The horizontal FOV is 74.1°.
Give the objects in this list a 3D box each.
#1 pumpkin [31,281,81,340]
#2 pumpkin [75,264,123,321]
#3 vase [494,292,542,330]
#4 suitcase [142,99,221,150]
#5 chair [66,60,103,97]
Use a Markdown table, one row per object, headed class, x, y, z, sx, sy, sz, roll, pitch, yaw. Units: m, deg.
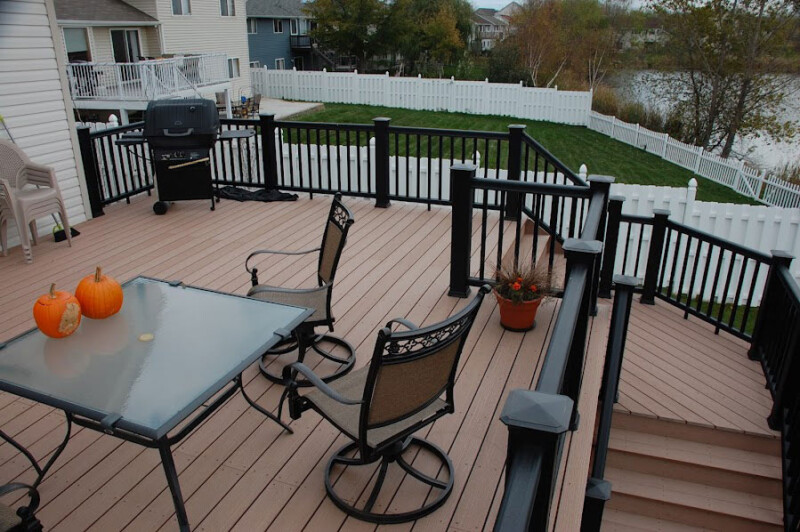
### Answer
| class | x | y | z | sx | sy | sz | roll | pitch | yaw |
| --- | --- | --- | --- | --- | --- | --- | --- | --- | --- |
| pumpkin | -2.367 | 0.352 | 3.783 | 0.281 | 0.389 | 0.277 | 1 | 46 | 1 |
| pumpkin | -2.164 | 0.161 | 3.923 | 0.341 | 0.464 | 0.353 | 0 | 13 | -8 |
| vase | 1.163 | 0.462 | 5.148 | 0.348 | 0.279 | 0.371 | 1 | 27 | 0 |
| suitcase | -3.113 | -2.048 | 7.745 | 0.832 | 0.817 | 0.801 | 5 | 21 | 7 |
| chair | -10.140 | -6.045 | 17.148 | 0.819 | 0.945 | 0.583 | -11 | 25 | -30 |
